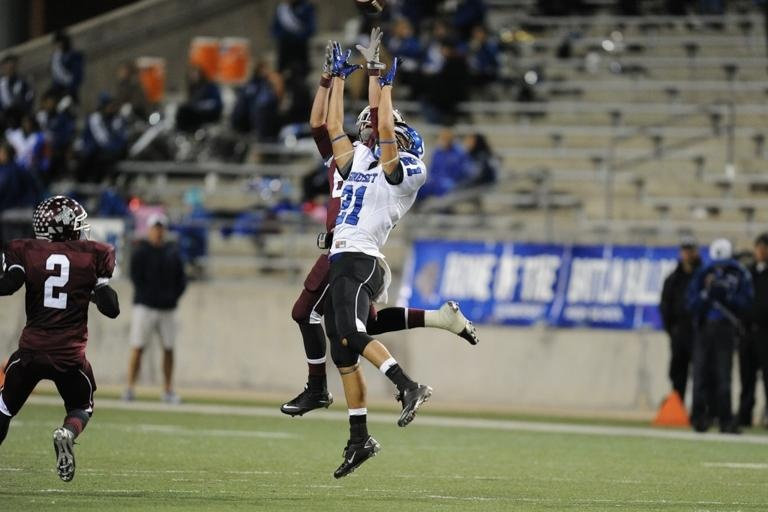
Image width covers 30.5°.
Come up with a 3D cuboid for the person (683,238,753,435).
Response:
[{"bbox_3d":[4.874,1.149,20.561,0.902,2.814,0.390,2,5,11],"label":"person"}]
